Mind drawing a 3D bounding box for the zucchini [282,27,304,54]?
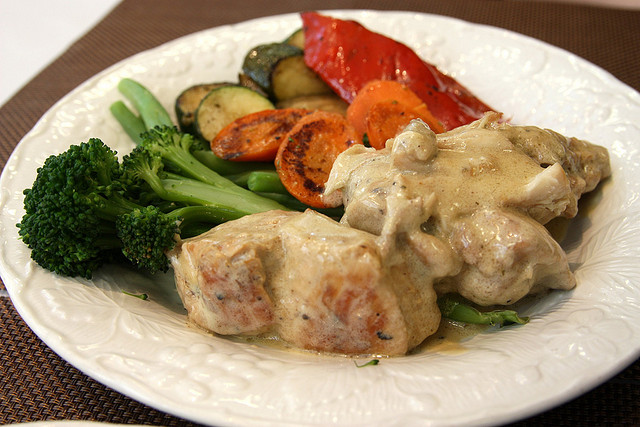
[{"bbox_3d":[-0.230,-1.616,5.592,0.253,0.060,0.256,17,77,-7],"label":"zucchini"}]
